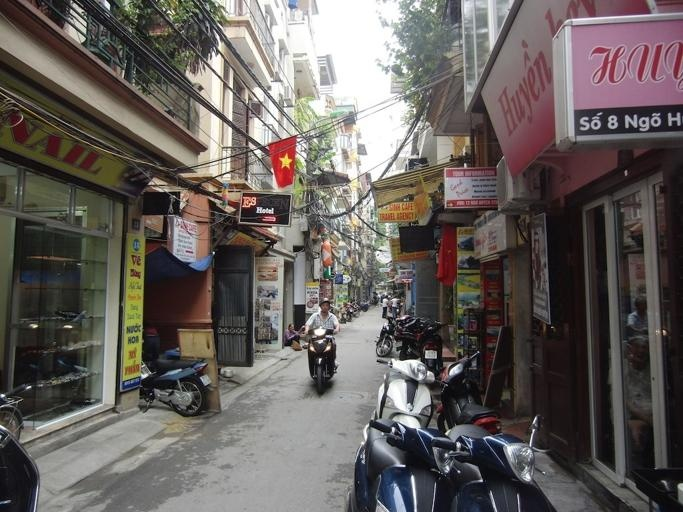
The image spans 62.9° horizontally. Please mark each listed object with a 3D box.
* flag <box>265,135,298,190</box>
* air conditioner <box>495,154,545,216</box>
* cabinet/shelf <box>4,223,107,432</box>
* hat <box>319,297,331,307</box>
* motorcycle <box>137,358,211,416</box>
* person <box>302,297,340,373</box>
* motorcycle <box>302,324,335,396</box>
[{"bbox_3d":[-1.080,-1.691,10.028,0.492,0.949,0.868,-1,0,-8],"label":"flag"},{"bbox_3d":[2.229,-0.934,6.985,0.483,0.662,0.731,-1,0,12],"label":"air conditioner"},{"bbox_3d":[-3.869,0.831,7.619,0.461,2.708,1.381,-1,0,35],"label":"cabinet/shelf"},{"bbox_3d":[-0.329,0.900,10.805,0.216,0.115,0.321,0,-2,-5],"label":"hat"},{"bbox_3d":[-2.514,1.935,8.261,1.191,0.807,0.610,1,-10,13],"label":"motorcycle"},{"bbox_3d":[-0.357,1.230,10.974,0.653,0.808,1.195,-1,-9,4],"label":"person"},{"bbox_3d":[-0.365,1.814,9.896,0.476,1.129,1.125,-1,0,-2],"label":"motorcycle"}]
